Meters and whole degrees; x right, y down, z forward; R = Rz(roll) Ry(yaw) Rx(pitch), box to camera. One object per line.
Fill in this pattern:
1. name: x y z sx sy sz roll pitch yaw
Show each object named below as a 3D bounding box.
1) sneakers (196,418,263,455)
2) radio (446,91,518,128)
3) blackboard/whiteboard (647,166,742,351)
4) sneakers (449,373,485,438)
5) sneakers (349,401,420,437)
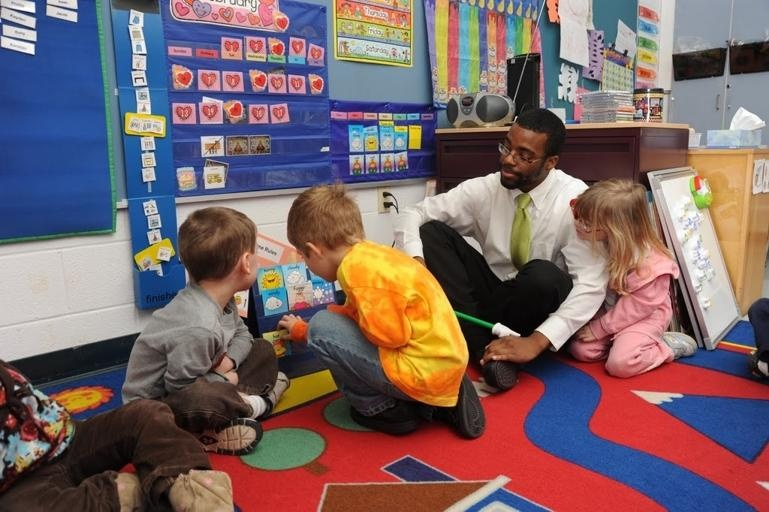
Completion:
1. sneakers: -0.556 0.624 1.675 0.234 0.102 0.107 0 0 1
2. radio: 0.625 -0.957 3.183 0.482 0.234 0.453 6 21 28
3. blackboard/whiteboard: 1.587 0.034 2.470 0.072 1.004 0.870 -20 -5 39
4. sneakers: 0.295 0.539 1.716 0.134 0.199 0.109 -6 13 2
5. sneakers: -0.005 0.581 1.743 0.254 0.132 0.072 -4 14 8
